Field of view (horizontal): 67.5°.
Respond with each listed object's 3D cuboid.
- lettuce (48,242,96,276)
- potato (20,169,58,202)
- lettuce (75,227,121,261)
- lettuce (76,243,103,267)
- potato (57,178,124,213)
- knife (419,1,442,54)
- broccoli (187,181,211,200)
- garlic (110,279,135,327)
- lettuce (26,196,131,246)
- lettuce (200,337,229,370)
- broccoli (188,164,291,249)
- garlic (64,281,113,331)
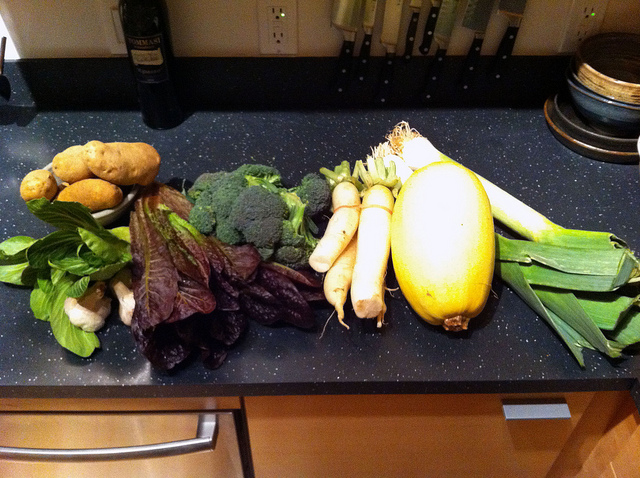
[{"bbox_3d":[-0.496,0.042,0.972,0.073,0.072,0.075,-5,35,-12],"label":"lettuce"},{"bbox_3d":[-0.641,-0.123,1.104,0.061,0.048,0.082,-15,16,-5],"label":"potato"},{"bbox_3d":[-0.449,0.008,0.947,0.084,0.080,0.048,3,43,-1],"label":"lettuce"},{"bbox_3d":[-0.472,0.034,0.969,0.018,0.040,0.050,-43,72,-12],"label":"lettuce"},{"bbox_3d":[-0.516,-0.096,1.079,0.134,0.080,0.068,-8,12,-6],"label":"potato"},{"bbox_3d":[0.323,-0.616,1.397,0.024,0.142,0.044,34,50,29],"label":"knife"},{"bbox_3d":[-0.280,-0.119,1.134,0.054,0.033,0.042,-26,15,-22],"label":"broccoli"},{"bbox_3d":[-0.424,0.127,1.007,0.045,0.108,0.077,6,18,-16],"label":"garlic"},{"bbox_3d":[-0.493,-0.023,1.004,0.086,0.287,0.070,-41,72,8],"label":"lettuce"},{"bbox_3d":[-0.215,0.231,0.980,0.055,0.023,0.063,8,78,-17],"label":"lettuce"},{"bbox_3d":[-0.176,-0.088,1.046,0.185,0.066,0.201,0,66,7],"label":"broccoli"},{"bbox_3d":[-0.477,0.140,0.987,0.080,0.097,0.089,32,47,10],"label":"garlic"}]
